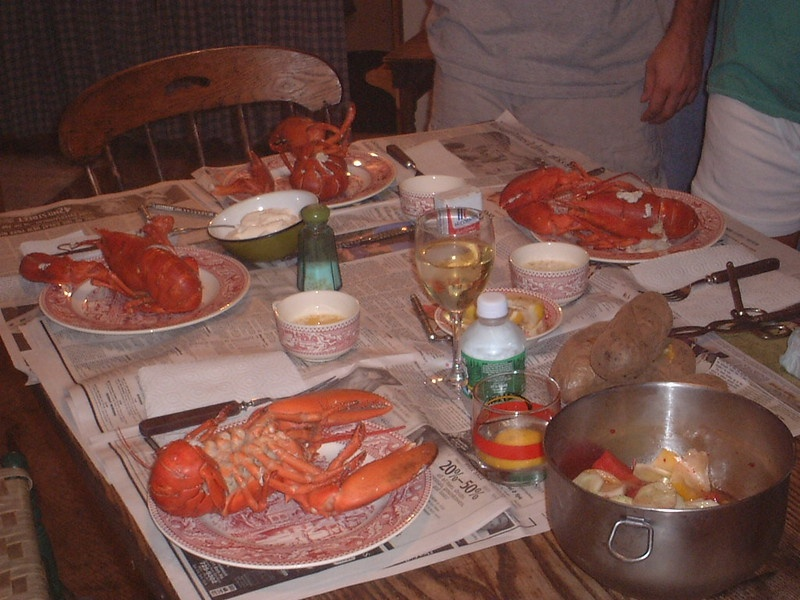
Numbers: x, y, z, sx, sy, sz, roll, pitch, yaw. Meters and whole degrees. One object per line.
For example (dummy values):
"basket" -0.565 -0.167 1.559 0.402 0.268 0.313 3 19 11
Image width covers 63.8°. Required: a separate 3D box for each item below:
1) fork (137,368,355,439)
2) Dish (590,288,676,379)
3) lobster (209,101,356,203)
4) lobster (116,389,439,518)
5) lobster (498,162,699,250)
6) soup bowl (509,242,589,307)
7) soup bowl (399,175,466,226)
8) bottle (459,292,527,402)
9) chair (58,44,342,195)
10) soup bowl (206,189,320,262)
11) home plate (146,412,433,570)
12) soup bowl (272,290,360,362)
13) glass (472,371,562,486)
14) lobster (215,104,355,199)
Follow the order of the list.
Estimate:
"fork" -0.189 0.168 1.221 0.597 0.050 0.068 -8 13 -21
"Dish" 0.392 0.065 1.129 0.103 0.090 0.170 28 65 21
"lobster" -0.299 -0.423 1.964 0.461 0.173 0.285 -23 39 -19
"lobster" -0.169 0.233 0.979 0.355 0.081 0.198 -8 31 -3
"lobster" 0.528 -0.250 1.752 0.443 0.094 0.238 5 31 11
"soup bowl" 0.321 -0.033 1.483 0.169 0.067 0.151 -4 9 -19
"soup bowl" 0.074 -0.298 1.858 0.158 0.068 0.147 -2 26 1
"bottle" 0.159 0.087 1.123 0.123 0.195 0.112 -3 38 2
"chair" -0.789 -0.660 2.501 1.191 0.365 0.354 -10 -11 7
"soup bowl" -0.343 -0.198 1.693 0.248 0.090 0.230 -13 19 4
"home plate" -0.162 0.251 0.879 0.231 0.027 0.204 -2 19 13
"soup bowl" -0.173 0.071 1.366 0.171 0.083 0.167 -2 17 1
"glass" 0.178 0.201 1.015 0.191 0.158 0.168 2 30 6
"lobster" -0.306 -0.421 1.953 0.450 0.160 0.298 -20 38 -21
